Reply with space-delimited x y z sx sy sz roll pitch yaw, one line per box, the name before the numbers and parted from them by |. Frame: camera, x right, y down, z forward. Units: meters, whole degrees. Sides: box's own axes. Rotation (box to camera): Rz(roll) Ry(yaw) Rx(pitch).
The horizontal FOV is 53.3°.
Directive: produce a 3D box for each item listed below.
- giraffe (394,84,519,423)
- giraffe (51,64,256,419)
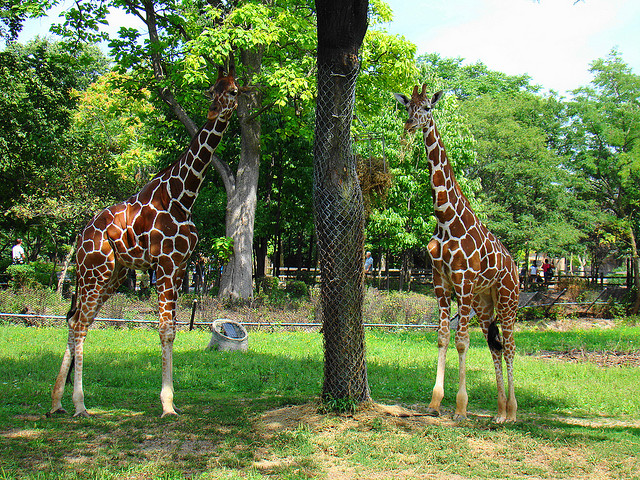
giraffe | 2.844 0.174 12.712 2.271 6.496 1.599 2 3 8
giraffe | -3.404 -0.089 12.442 3.186 6.700 1.237 1 3 -8
